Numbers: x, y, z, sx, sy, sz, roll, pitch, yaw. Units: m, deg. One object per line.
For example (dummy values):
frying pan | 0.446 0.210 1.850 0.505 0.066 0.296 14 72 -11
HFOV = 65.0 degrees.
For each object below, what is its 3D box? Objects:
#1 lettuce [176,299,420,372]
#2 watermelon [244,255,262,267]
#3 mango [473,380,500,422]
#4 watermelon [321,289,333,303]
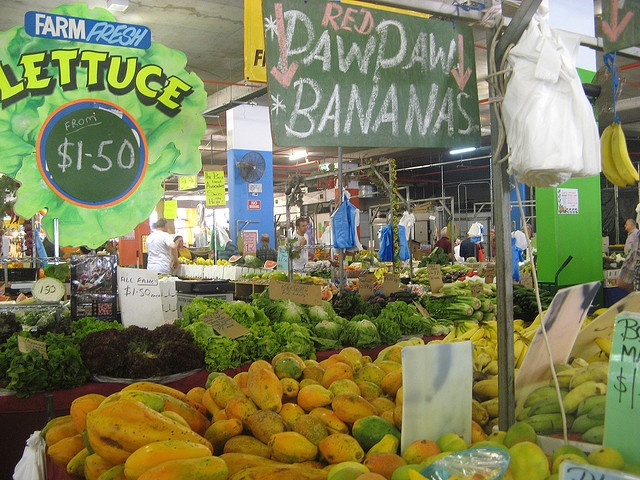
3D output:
lettuce | -0.173 0.708 3.924 1.082 0.345 0.777 5 1 -29
watermelon | -1.139 0.373 8.560 0.312 0.204 0.477 -3 1 -35
mango | 0.848 0.809 2.523 0.131 0.149 0.059 -11 -34 6
watermelon | 0.070 0.555 4.953 0.095 0.059 0.099 6 11 45
